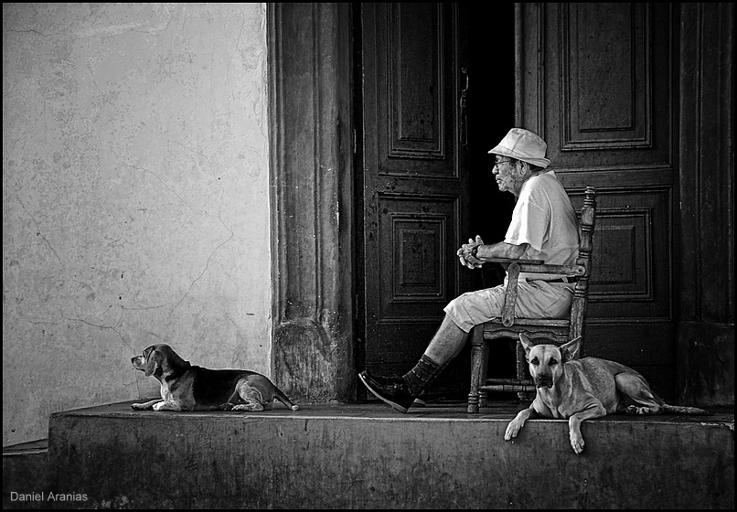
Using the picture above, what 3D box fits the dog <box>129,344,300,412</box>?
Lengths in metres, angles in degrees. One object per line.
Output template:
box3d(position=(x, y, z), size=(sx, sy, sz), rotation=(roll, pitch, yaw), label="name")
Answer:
box3d(position=(-1.215, 1.008, 8.253), size=(1.334, 0.544, 0.469), rotation=(1, -11, -5), label="dog")

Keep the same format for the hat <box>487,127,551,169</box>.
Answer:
box3d(position=(1.184, -0.785, 8.048), size=(0.365, 0.178, 0.332), rotation=(26, -2, 2), label="hat")

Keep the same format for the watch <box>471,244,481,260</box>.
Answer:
box3d(position=(0.810, -0.035, 7.808), size=(0.037, 0.094, 0.067), rotation=(13, -8, -20), label="watch")

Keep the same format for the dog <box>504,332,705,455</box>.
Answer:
box3d(position=(1.721, 0.977, 7.610), size=(1.532, 0.740, 0.653), rotation=(-5, 2, -33), label="dog")
